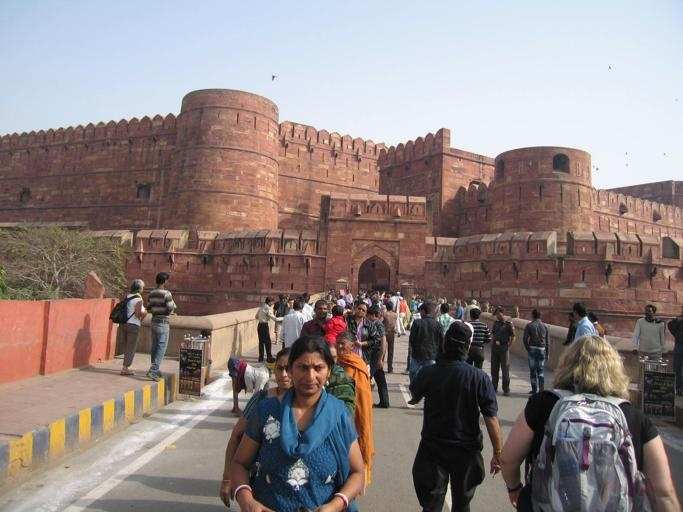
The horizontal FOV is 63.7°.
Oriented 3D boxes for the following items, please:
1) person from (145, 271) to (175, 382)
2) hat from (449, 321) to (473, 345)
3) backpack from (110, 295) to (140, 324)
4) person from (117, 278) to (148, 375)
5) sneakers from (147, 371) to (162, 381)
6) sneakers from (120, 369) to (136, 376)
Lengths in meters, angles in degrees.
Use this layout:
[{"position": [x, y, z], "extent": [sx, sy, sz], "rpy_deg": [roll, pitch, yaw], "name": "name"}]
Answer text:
[{"position": [-2.500, 0.949, 7.581], "extent": [0.343, 1.430, 0.597], "rpy_deg": [3, -6, -19], "name": "person"}, {"position": [0.963, 0.650, 4.457], "extent": [0.181, 0.091, 0.267], "rpy_deg": [3, 14, 13], "name": "hat"}, {"position": [-3.068, 0.755, 7.691], "extent": [0.436, 0.437, 0.289], "rpy_deg": [13, -16, -41], "name": "backpack"}, {"position": [-3.058, 1.013, 8.126], "extent": [0.292, 1.359, 1.317], "rpy_deg": [3, -6, -21], "name": "person"}, {"position": [-2.472, 1.591, 7.256], "extent": [0.085, 0.116, 0.225], "rpy_deg": [3, -2, 45], "name": "sneakers"}, {"position": [-2.941, 1.605, 7.582], "extent": [0.084, 0.067, 0.166], "rpy_deg": [-1, -13, -6], "name": "sneakers"}]
